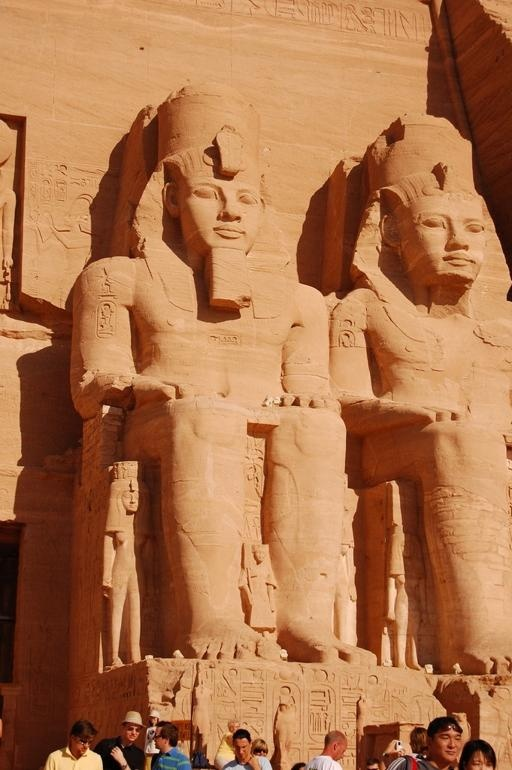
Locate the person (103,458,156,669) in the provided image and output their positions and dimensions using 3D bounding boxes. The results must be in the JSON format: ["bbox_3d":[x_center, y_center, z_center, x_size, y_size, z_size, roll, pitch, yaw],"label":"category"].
[{"bbox_3d":[-0.795,1.106,7.224,0.320,1.137,0.695,3,14,-7],"label":"person"}]

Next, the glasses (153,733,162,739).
[{"bbox_3d":[-0.356,1.259,4.235,0.028,0.039,0.018,3,55,-14],"label":"glasses"}]
